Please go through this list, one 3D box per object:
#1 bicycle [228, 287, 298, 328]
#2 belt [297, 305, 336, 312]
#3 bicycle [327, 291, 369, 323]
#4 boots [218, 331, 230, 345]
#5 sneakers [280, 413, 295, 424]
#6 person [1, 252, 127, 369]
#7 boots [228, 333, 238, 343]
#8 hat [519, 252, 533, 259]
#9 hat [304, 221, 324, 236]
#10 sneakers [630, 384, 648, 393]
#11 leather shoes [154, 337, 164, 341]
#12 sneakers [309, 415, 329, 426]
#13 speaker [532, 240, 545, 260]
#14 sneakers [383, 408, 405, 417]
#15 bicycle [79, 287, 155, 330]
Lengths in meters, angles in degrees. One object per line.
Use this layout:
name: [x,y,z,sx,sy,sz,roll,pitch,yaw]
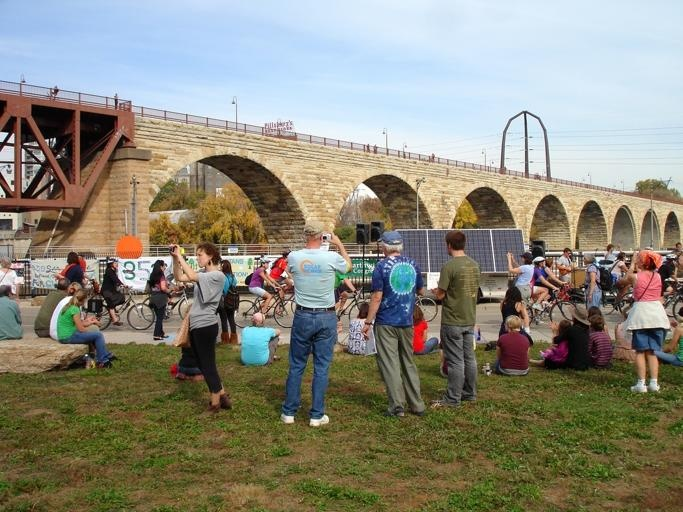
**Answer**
bicycle: [-1.879,1.317,16.399,1.494,0.960,0.763,1,22,-15]
belt: [-0.330,0.674,8.161,0.503,0.110,0.205,-1,7,-4]
bicycle: [0.382,1.390,18.073,1.107,0.743,0.565,-15,28,-5]
boots: [-2.438,1.729,13.210,0.198,0.232,0.198,-3,-4,-3]
sneakers: [-0.685,2.113,8.232,0.183,0.112,0.179,-2,7,-12]
person: [-4.780,1.155,11.253,1.031,1.402,1.887,-6,9,-39]
boots: [-2.272,1.743,13.302,0.183,0.208,0.192,1,-10,-8]
hat: [4.176,0.000,14.237,0.176,0.237,0.204,15,-14,-35]
hat: [-0.356,-0.357,8.169,0.243,0.188,0.184,-1,7,-5]
sneakers: [4.382,1.947,9.281,0.115,0.153,0.237,-1,6,-18]
leather shoes: [-4.062,1.862,14.103,0.234,0.089,0.082,-1,-3,5]
sneakers: [-0.282,2.118,8.139,0.104,0.128,0.271,5,8,37]
speaker: [5.432,-0.152,17.450,0.260,0.517,0.522,-1,1,21]
sneakers: [0.711,2.089,8.436,0.264,0.138,0.101,6,-2,22]
bicycle: [-5.713,1.442,15.976,1.925,1.267,1.035,-2,6,-3]
